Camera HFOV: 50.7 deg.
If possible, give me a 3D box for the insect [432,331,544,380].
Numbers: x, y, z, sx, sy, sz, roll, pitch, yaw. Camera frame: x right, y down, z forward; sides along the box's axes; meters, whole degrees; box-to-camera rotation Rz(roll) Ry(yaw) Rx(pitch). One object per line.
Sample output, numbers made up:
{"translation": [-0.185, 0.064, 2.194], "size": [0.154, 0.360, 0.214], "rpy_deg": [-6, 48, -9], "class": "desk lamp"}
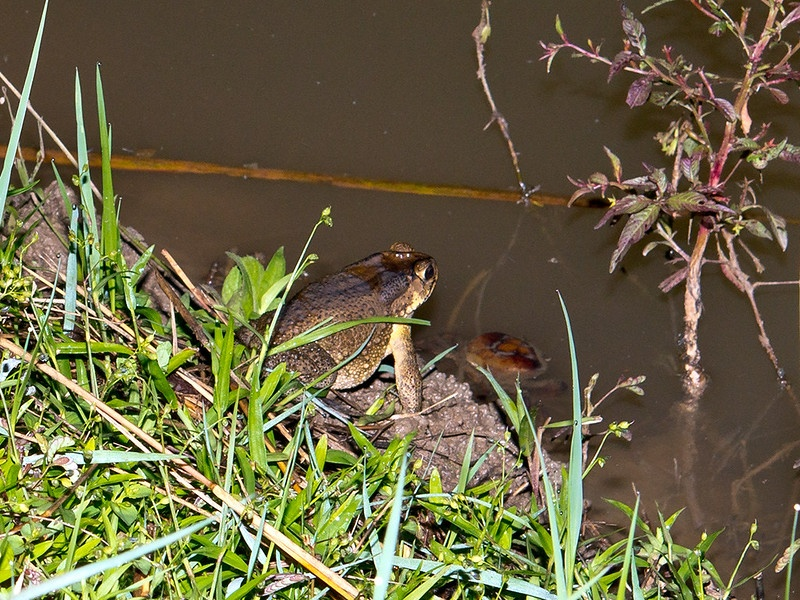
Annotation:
{"translation": [0.572, 0.330, 5.108], "size": [0.415, 0.121, 0.342], "rpy_deg": [4, 25, -4], "class": "insect"}
